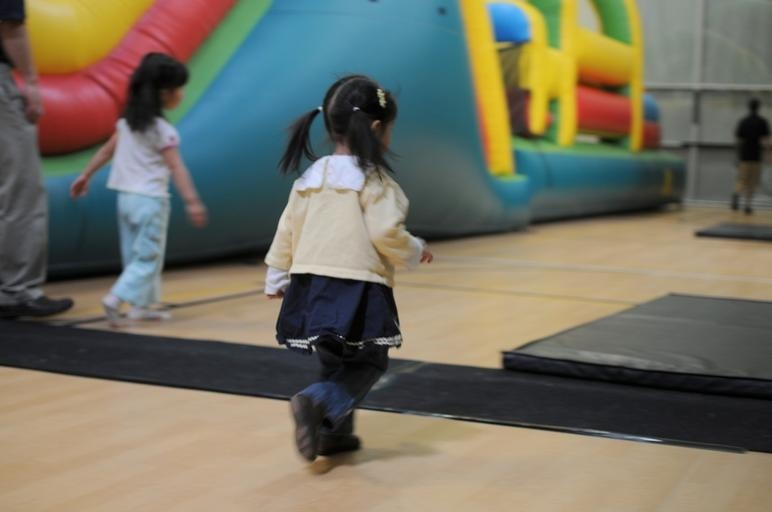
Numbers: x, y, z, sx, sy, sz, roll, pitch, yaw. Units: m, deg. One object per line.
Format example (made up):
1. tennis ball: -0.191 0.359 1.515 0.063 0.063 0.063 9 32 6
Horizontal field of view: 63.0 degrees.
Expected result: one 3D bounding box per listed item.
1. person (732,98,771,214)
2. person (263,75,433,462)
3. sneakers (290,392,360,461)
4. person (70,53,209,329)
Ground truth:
1. person: 2.406 -0.645 4.165 0.191 0.761 0.272 6 13 29
2. person: -0.101 0.004 1.676 0.399 0.937 0.322 -5 13 -22
3. sneakers: -0.179 0.435 1.687 0.087 0.188 0.265 2 8 30
4. person: -1.109 -0.282 2.769 0.636 1.182 0.414 7 14 32
